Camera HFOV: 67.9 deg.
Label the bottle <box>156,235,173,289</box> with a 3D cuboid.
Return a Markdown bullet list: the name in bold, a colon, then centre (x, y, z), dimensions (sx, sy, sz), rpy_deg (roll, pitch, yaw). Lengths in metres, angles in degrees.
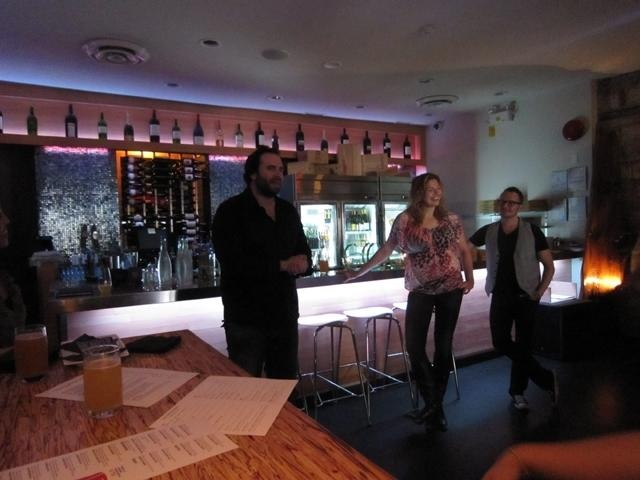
- **bottle**: centre (-1.026, 0.143, 3.151), dimensions (0.098, 0.305, 0.491), rpy_deg (1, 6, -17)

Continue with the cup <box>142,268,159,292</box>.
- **cup**: centre (-1.077, 0.229, 3.021), dimensions (0.112, 0.150, 0.318), rpy_deg (1, 6, -20)

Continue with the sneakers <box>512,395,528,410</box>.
- **sneakers**: centre (1.384, 1.122, 3.273), dimensions (0.051, 0.066, 0.147), rpy_deg (-3, -8, 1)

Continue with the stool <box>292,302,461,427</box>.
- **stool**: centre (0.371, 0.884, 3.348), dimensions (0.304, 0.490, 0.894), rpy_deg (-1, -3, 45)

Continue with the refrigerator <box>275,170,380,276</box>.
- **refrigerator**: centre (0.081, -0.218, 4.781), dimensions (1.155, 1.165, 0.441), rpy_deg (-1, 0, -29)
